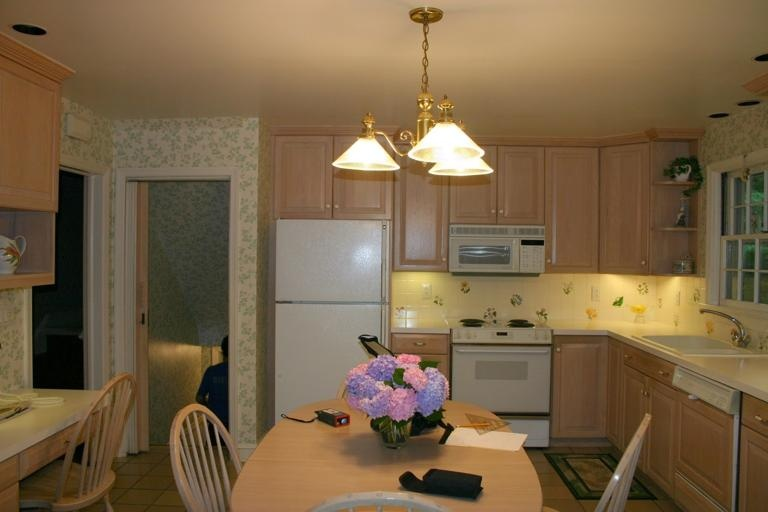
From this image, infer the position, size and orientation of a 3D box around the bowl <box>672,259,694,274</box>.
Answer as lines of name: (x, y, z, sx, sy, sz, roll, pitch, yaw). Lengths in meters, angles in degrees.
bowl: (2.726, 0.103, 5.346, 0.150, 0.122, 0.144, 1, 0, 0)

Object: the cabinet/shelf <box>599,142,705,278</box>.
cabinet/shelf: (2.472, -0.437, 5.531, 0.807, 1.269, 0.447, 1, 7, 28)

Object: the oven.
oven: (1.254, 1.383, 5.678, 1.020, 0.999, 0.734, -7, -18, 38)

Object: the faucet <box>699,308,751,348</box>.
faucet: (2.805, 0.597, 4.791, 0.400, 0.371, 0.249, 0, -3, 43)

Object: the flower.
flower: (0.053, 0.859, 3.434, 0.529, 0.453, 0.532, 0, 2, 34)

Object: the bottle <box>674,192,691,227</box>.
bottle: (2.772, -0.424, 5.469, 0.148, 0.243, 0.096, -2, -1, 11)

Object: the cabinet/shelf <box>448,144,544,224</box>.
cabinet/shelf: (1.068, -0.673, 5.859, 0.966, 0.780, 0.359, -1, 2, -9)

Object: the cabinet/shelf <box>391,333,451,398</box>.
cabinet/shelf: (0.343, 0.902, 5.586, 0.526, 0.490, 0.351, 0, 20, 2)
